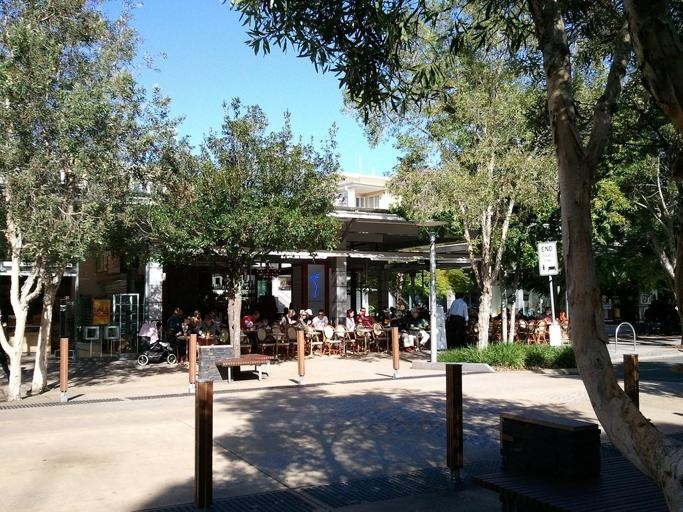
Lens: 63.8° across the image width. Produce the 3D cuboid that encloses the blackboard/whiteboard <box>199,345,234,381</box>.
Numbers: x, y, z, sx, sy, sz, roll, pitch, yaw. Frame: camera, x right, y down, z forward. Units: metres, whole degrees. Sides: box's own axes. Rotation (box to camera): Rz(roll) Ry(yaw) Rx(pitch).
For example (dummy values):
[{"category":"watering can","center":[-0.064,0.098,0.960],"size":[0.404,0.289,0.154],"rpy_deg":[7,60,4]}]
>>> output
[{"category":"blackboard/whiteboard","center":[-3.347,2.798,14.466],"size":[0.824,0.881,0.302],"rpy_deg":[1,-2,-27]}]

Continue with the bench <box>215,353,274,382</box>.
[{"category":"bench","center":[-2.701,3.030,14.911],"size":[1.388,0.663,2.257],"rpy_deg":[-1,-8,-13]}]

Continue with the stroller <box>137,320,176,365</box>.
[{"category":"stroller","center":[-6.612,3.096,19.562],"size":[1.233,1.451,0.979],"rpy_deg":[0,-7,-20]}]

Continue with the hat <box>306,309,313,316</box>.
[{"category":"hat","center":[-1.670,2.961,29.605],"size":[0.443,0.429,0.463],"rpy_deg":[-4,-5,32]}]
